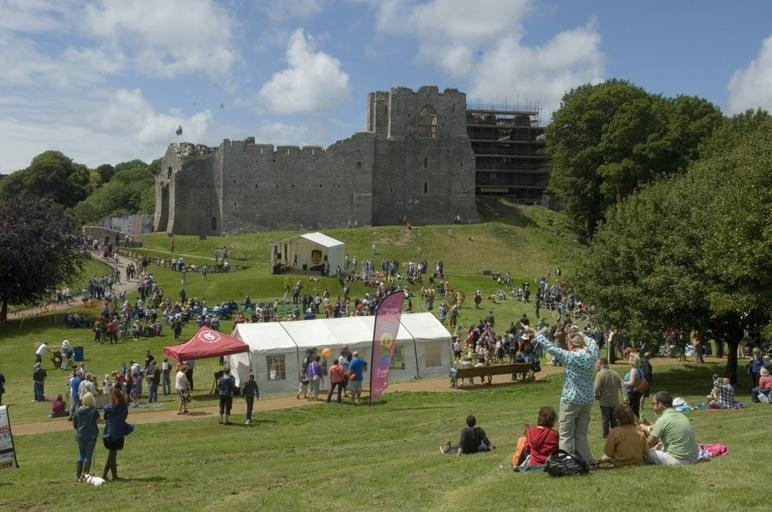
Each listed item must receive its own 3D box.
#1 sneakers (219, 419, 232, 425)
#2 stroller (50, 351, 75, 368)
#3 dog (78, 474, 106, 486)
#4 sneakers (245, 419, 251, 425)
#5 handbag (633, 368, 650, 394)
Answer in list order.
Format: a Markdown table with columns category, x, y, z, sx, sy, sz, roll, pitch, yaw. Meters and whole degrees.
| category | x | y | z | sx | sy | sz | roll | pitch | yaw |
| --- | --- | --- | --- | --- | --- | --- | --- | --- | --- |
| sneakers | -7.539 | 7.758 | 42.055 | 0.651 | 0.251 | 0.232 | -1 | 0 | 15 |
| stroller | -19.034 | 6.122 | 52.874 | 0.880 | 1.068 | 1.206 | 3 | -6 | -30 |
| dog | -11.505 | 8.763 | 35.282 | 0.675 | 0.282 | 0.410 | 4 | -5 | 9 |
| sneakers | -6.449 | 7.715 | 41.858 | 0.220 | 0.383 | 0.223 | -4 | -12 | 25 |
| handbag | 10.621 | 5.189 | 37.425 | 0.752 | 1.335 | 1.213 | -4 | 5 | 20 |
